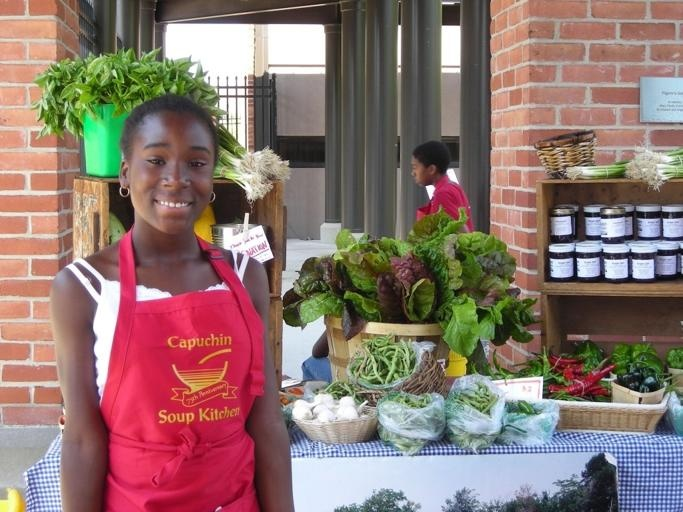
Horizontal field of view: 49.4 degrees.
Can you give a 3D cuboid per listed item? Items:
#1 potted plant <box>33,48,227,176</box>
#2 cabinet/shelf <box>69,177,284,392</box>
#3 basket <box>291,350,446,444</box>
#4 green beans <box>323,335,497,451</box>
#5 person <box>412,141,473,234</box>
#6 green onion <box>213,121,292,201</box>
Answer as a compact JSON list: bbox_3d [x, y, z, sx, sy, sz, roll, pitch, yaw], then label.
[{"bbox_3d":[-0.949,-0.658,3.355,0.818,0.648,0.512,-12,19,-37],"label":"potted plant"},{"bbox_3d":[-0.824,-0.185,3.489,0.755,1.489,0.591,-3,4,-26],"label":"cabinet/shelf"},{"bbox_3d":[0.013,0.520,2.957,0.366,0.141,0.384,-3,-4,-3],"label":"basket"},{"bbox_3d":[0.204,0.530,3.146,0.507,0.389,0.494,1,4,14],"label":"green beans"},{"bbox_3d":[0.704,-0.528,5.303,0.393,0.764,0.444,-3,15,-17],"label":"person"},{"bbox_3d":[-0.401,-0.440,3.326,0.233,0.355,0.329,-1,13,-10],"label":"green onion"}]
